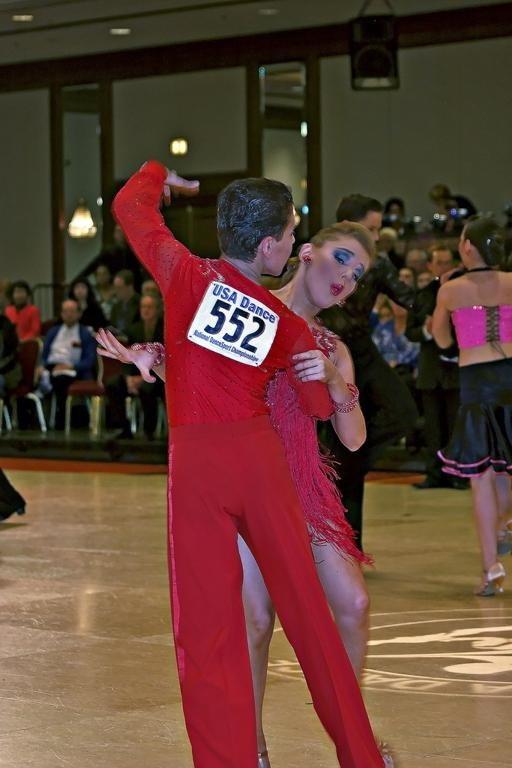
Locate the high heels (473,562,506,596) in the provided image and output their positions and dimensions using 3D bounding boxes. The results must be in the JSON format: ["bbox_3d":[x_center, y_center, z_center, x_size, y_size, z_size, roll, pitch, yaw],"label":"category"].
[{"bbox_3d":[1.071,0.906,3.464,0.087,0.105,0.201,-12,1,-17],"label":"high heels"}]

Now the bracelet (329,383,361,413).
[{"bbox_3d":[0.152,0.022,1.290,0.046,0.053,0.021,-14,6,-17],"label":"bracelet"}]
